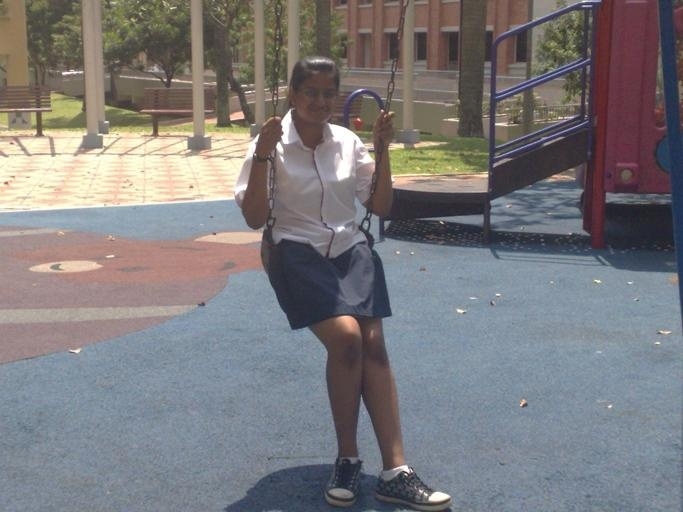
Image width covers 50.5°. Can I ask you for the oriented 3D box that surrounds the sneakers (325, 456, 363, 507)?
[{"bbox_3d":[0.005,0.972,3.130,0.145,0.173,0.146,1,13,4],"label":"sneakers"}]

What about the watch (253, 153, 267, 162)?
[{"bbox_3d":[-0.375,-0.462,3.406,0.076,0.039,0.044,-2,14,-9],"label":"watch"}]

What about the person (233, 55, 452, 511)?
[{"bbox_3d":[-0.088,0.039,3.354,0.776,1.864,1.074,-2,13,-9],"label":"person"}]
